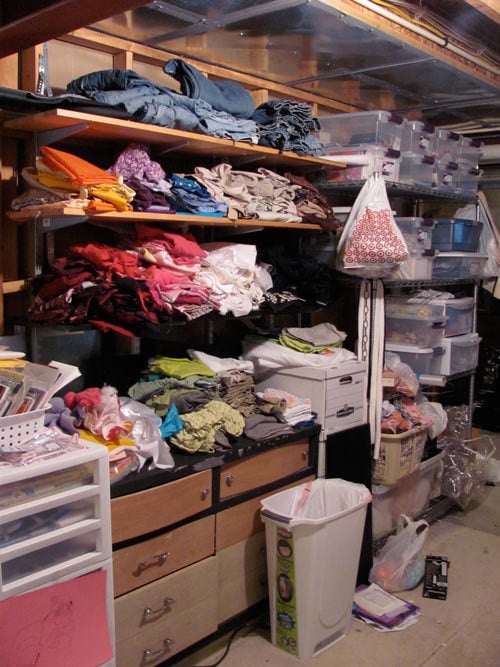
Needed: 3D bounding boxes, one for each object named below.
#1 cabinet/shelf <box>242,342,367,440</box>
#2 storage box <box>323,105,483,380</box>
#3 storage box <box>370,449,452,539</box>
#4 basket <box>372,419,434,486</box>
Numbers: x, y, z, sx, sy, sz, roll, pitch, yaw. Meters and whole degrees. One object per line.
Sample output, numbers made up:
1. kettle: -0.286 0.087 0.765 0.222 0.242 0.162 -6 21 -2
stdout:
1. cabinet/shelf: 0.215 0.244 2.669 0.585 0.329 0.424 9 11 40
2. storage box: 0.891 -0.518 3.125 0.696 1.581 1.852 3 7 28
3. storage box: 0.937 0.930 3.053 0.360 0.209 0.554 4 14 41
4. basket: 0.842 0.673 2.931 0.430 0.297 0.103 -2 8 -45
